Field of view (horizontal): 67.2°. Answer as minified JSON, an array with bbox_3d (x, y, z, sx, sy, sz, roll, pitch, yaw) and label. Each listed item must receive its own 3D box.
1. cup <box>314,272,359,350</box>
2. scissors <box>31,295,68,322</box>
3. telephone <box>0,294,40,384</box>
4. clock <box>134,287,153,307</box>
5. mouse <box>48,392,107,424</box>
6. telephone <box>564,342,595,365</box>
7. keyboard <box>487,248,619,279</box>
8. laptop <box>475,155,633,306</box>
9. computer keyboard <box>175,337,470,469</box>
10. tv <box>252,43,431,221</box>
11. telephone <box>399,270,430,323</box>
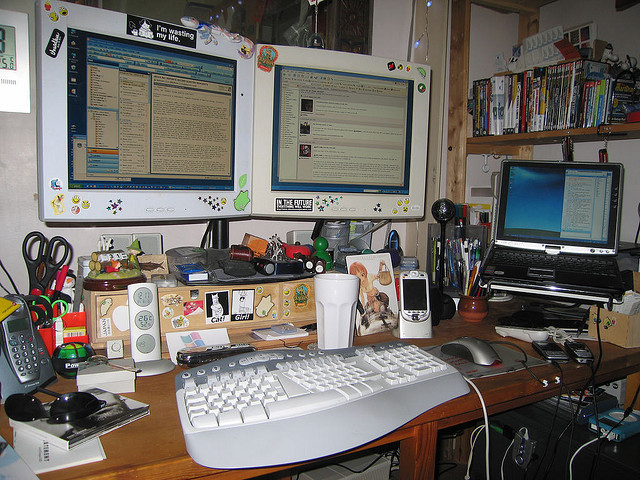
[{"bbox_3d":[0.040,0.195,1.357,0.137,0.221,0.138,-1,4,0],"label":"cup"},{"bbox_3d":[-0.687,0.162,1.231,0.074,0.048,0.010,10,-31,-42],"label":"scissors"},{"bbox_3d":[-0.690,0.235,1.109,0.049,0.175,0.074,2,8,38],"label":"telephone"},{"bbox_3d":[-0.450,0.142,1.225,0.048,0.055,0.007,4,-13,-37],"label":"clock"},{"bbox_3d":[-0.510,0.343,1.000,0.090,0.055,0.028,-3,-31,-27],"label":"mouse"},{"bbox_3d":[0.723,0.311,1.346,0.065,0.035,0.091,-3,7,8],"label":"telephone"},{"bbox_3d":[0.796,0.074,1.662,0.404,0.074,0.153,-1,7,19],"label":"keyboard"},{"bbox_3d":[0.811,-0.038,1.767,0.496,0.482,0.543,7,19,26],"label":"laptop"},{"bbox_3d":[0.016,0.336,1.092,0.639,0.142,0.274,-7,8,-24],"label":"computer keyboard"},{"bbox_3d":[0.073,-0.332,1.495,0.673,0.502,0.077,1,8,-21],"label":"tv"},{"bbox_3d":[0.288,0.167,1.465,0.089,0.144,0.087,-2,7,12],"label":"telephone"}]
